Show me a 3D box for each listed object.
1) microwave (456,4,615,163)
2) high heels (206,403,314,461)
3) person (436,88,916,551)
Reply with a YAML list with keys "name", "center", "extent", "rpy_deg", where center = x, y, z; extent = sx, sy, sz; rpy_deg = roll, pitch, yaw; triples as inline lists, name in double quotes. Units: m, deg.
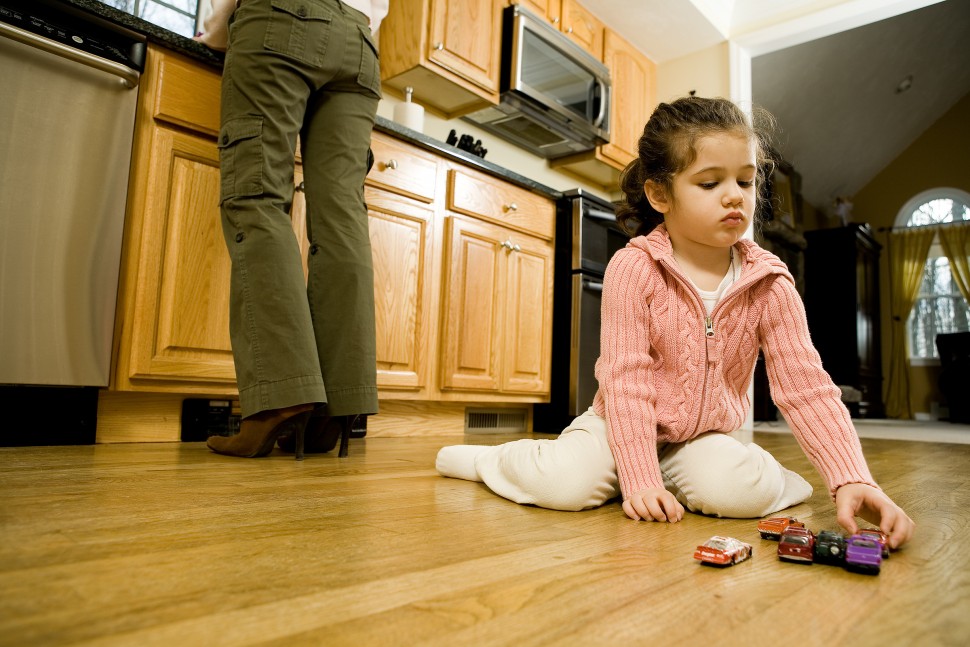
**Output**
- name: "microwave"
  center: [0.251, -1.116, 3.162]
  extent: [0.533, 0.492, 1.045]
  rpy_deg: [-8, -15, 30]
- name: "high heels"
  center: [-0.544, 0.259, 1.631]
  extent: [0.349, 0.155, 0.115]
  rpy_deg: [2, 5, 17]
- name: "person"
  center: [0.350, -0.021, 1.376]
  extent: [0.934, 0.773, 0.656]
  rpy_deg: [2, -2, 13]
